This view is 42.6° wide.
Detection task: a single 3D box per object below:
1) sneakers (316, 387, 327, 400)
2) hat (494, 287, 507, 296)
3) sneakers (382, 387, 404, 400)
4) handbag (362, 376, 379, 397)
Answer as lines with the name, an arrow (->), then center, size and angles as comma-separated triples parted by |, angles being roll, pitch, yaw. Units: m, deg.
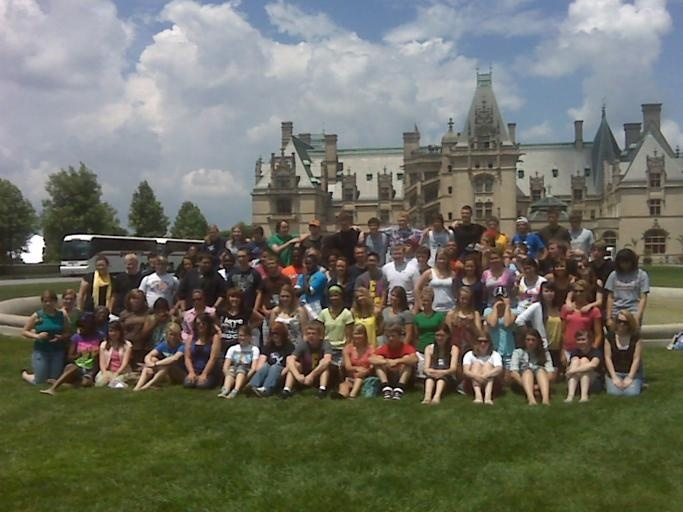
sneakers -> -0.351, 2.333, 15.070 | 0.158, 0.172, 0.304 | -1, 1, 2
hat -> 2.876, 0.652, 15.888 | 0.165, 0.209, 0.184 | 2, -34, 14
sneakers -> 0.876, 2.332, 14.925 | 0.344, 0.193, 0.232 | -1, 1, -2
handbag -> 0.477, 2.252, 15.107 | 0.250, 0.309, 0.286 | 0, 2, 32
